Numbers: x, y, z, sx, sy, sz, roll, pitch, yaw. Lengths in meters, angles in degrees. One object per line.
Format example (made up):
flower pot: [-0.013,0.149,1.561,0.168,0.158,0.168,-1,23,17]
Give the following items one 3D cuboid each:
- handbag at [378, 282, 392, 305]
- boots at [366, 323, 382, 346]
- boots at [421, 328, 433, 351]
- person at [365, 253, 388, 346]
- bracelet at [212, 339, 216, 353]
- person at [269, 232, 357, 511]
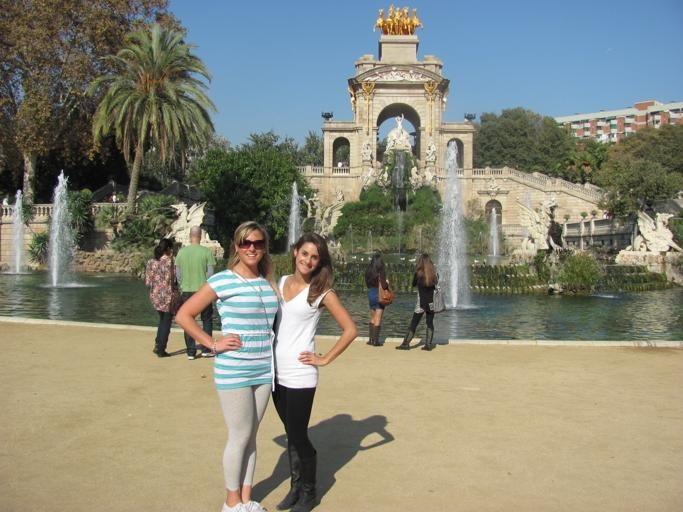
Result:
handbag: [0.829,0.732,12.410,0.270,0.419,0.366,0,5,-2]
boots: [0.623,1.525,12.656,0.344,0.480,0.388,1,-2,-7]
boots: [1.646,1.537,12.416,0.208,0.425,0.566,0,5,7]
person: [0.681,0.836,12.863,0.430,1.839,1.124,0,5,3]
bracelet: [-1.191,0.844,6.019,0.045,0.113,0.169,-1,5,-12]
person: [-0.312,1.109,6.339,0.727,2.695,0.520,-1,5,-8]
